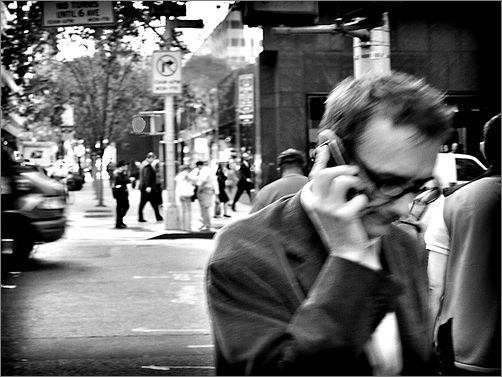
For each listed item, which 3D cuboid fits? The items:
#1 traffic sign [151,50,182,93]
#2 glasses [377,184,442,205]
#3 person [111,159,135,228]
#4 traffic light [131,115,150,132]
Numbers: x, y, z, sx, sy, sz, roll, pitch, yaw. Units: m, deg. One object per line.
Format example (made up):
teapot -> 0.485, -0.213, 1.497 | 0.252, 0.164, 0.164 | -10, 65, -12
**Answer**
traffic sign -> -1.682, -2.336, 17.220 | 0.646, 0.871, 0.256 | -5, 4, -4
glasses -> 0.487, 0.034, 2.646 | 0.156, 0.045, 0.096 | -18, 27, 2
person -> -3.025, 0.141, 19.929 | 0.428, 1.501, 1.567 | -6, 4, -9
traffic light -> -2.253, -1.309, 17.476 | 0.400, 0.360, 0.265 | -2, 5, 37
